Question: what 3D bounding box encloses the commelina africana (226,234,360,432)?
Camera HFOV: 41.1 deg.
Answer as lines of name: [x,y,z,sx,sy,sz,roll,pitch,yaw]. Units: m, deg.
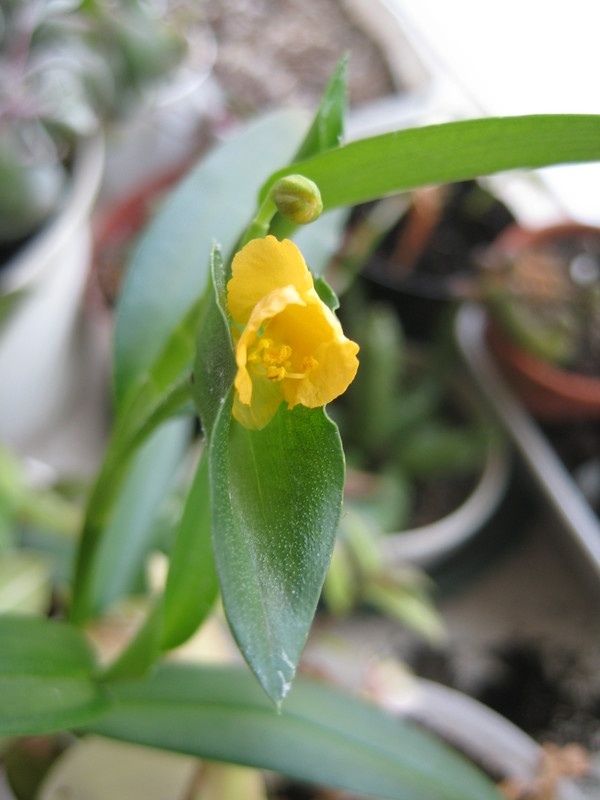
commelina africana: [-0.007,-0.025,0.290,0.027,0.064,0.062,12,86,54]
